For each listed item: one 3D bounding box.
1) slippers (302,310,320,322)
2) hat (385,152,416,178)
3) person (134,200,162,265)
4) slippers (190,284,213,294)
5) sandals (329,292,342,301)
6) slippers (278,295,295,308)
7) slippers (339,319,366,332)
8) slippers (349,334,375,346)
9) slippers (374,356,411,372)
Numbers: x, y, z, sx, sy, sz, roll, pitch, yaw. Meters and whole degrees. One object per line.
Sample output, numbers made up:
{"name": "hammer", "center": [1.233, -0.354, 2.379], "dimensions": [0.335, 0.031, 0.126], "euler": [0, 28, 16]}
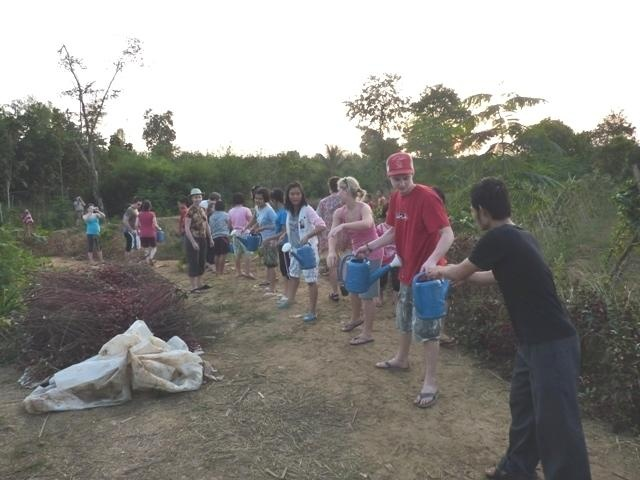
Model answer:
{"name": "slippers", "center": [-0.138, 1.151, 8.137], "dimensions": [0.130, 0.113, 0.268], "euler": [-3, -7, 22]}
{"name": "hat", "center": [0.883, -0.836, 5.895], "dimensions": [0.280, 0.256, 0.371], "euler": [-2, 4, 7]}
{"name": "person", "center": [-4.328, -0.192, 13.544], "dimensions": [0.529, 1.609, 1.594], "euler": [-4, 5, -19]}
{"name": "slippers", "center": [-2.220, 0.912, 10.021], "dimensions": [0.378, 0.159, 0.128], "euler": [7, -9, -38]}
{"name": "sandals", "center": [0.264, 0.953, 9.120], "dimensions": [0.149, 0.080, 0.247], "euler": [0, 2, -23]}
{"name": "slippers", "center": [-0.542, 1.003, 8.720], "dimensions": [0.119, 0.128, 0.286], "euler": [5, 0, 39]}
{"name": "slippers", "center": [0.466, 1.209, 7.627], "dimensions": [0.355, 0.151, 0.133], "euler": [-31, 21, 6]}
{"name": "slippers", "center": [0.561, 1.337, 7.216], "dimensions": [0.321, 0.148, 0.125], "euler": [2, 1, -4]}
{"name": "slippers", "center": [0.894, 1.519, 6.585], "dimensions": [0.439, 0.207, 0.159], "euler": [5, 1, 14]}
